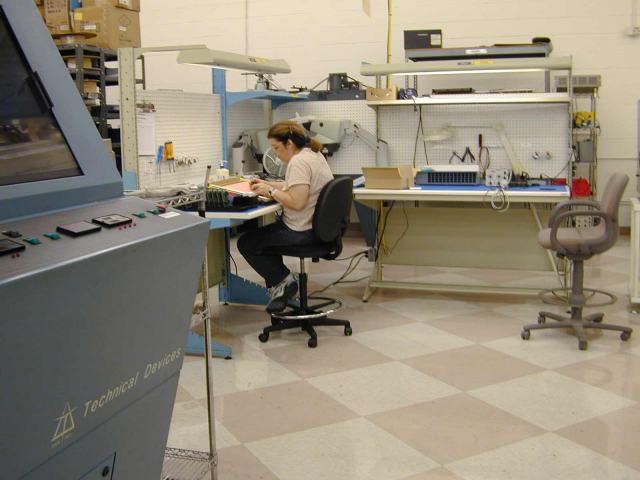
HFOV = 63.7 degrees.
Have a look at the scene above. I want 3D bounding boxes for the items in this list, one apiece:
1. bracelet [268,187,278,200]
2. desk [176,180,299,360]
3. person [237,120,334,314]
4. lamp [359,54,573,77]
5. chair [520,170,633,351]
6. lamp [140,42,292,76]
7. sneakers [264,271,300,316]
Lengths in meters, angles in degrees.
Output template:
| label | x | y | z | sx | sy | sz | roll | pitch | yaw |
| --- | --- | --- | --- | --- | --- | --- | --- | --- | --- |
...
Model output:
| label | x | y | z | sx | sy | sz | roll | pitch | yaw |
| --- | --- | --- | --- | --- | --- | --- | --- | --- | --- |
| bracelet | -0.295 | -0.286 | 3.217 | 0.053 | 0.077 | 0.078 | -2 | 11 | -13 |
| desk | -0.653 | 0.169 | 3.413 | 0.888 | 1.160 | 1.285 | 1 | 7 | 4 |
| person | -0.227 | -0.144 | 3.319 | 0.620 | 1.203 | 0.396 | -2 | 14 | 1 |
| lamp | 1.113 | -1.327 | 3.968 | 1.558 | 0.129 | 0.273 | 1 | 13 | 10 |
| chair | 1.789 | 0.063 | 3.416 | 0.606 | 1.023 | 1.081 | 6 | 15 | 30 |
| lamp | -0.653 | -1.230 | 3.555 | 0.381 | 0.131 | 1.341 | 4 | 14 | 21 |
| sneakers | -0.243 | 0.347 | 3.411 | 0.339 | 0.133 | 0.165 | -36 | 8 | -6 |
